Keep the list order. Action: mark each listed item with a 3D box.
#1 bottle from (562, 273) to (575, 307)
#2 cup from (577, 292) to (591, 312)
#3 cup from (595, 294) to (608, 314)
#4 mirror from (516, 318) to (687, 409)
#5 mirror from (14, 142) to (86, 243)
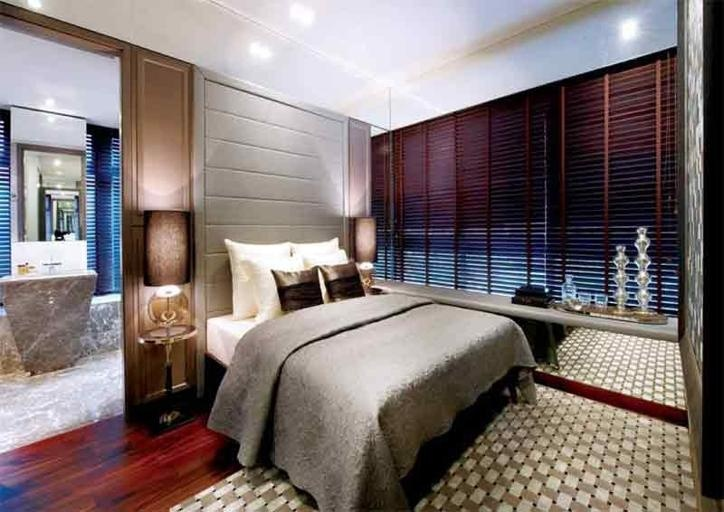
[{"bbox_3d":[1.975,0.343,4.518,0.128,0.255,0.213,-2,4,40],"label":"bottle"},{"bbox_3d":[2.048,0.431,4.386,0.104,0.154,0.139,-3,3,23],"label":"cup"},{"bbox_3d":[2.189,0.442,4.345,0.092,0.134,0.159,-3,3,21],"label":"cup"},{"bbox_3d":[2.090,0.938,4.081,0.042,0.770,1.147,17,-4,-43],"label":"mirror"},{"bbox_3d":[-3.373,-0.686,5.160,0.694,1.002,0.147,-6,3,-33],"label":"mirror"}]
